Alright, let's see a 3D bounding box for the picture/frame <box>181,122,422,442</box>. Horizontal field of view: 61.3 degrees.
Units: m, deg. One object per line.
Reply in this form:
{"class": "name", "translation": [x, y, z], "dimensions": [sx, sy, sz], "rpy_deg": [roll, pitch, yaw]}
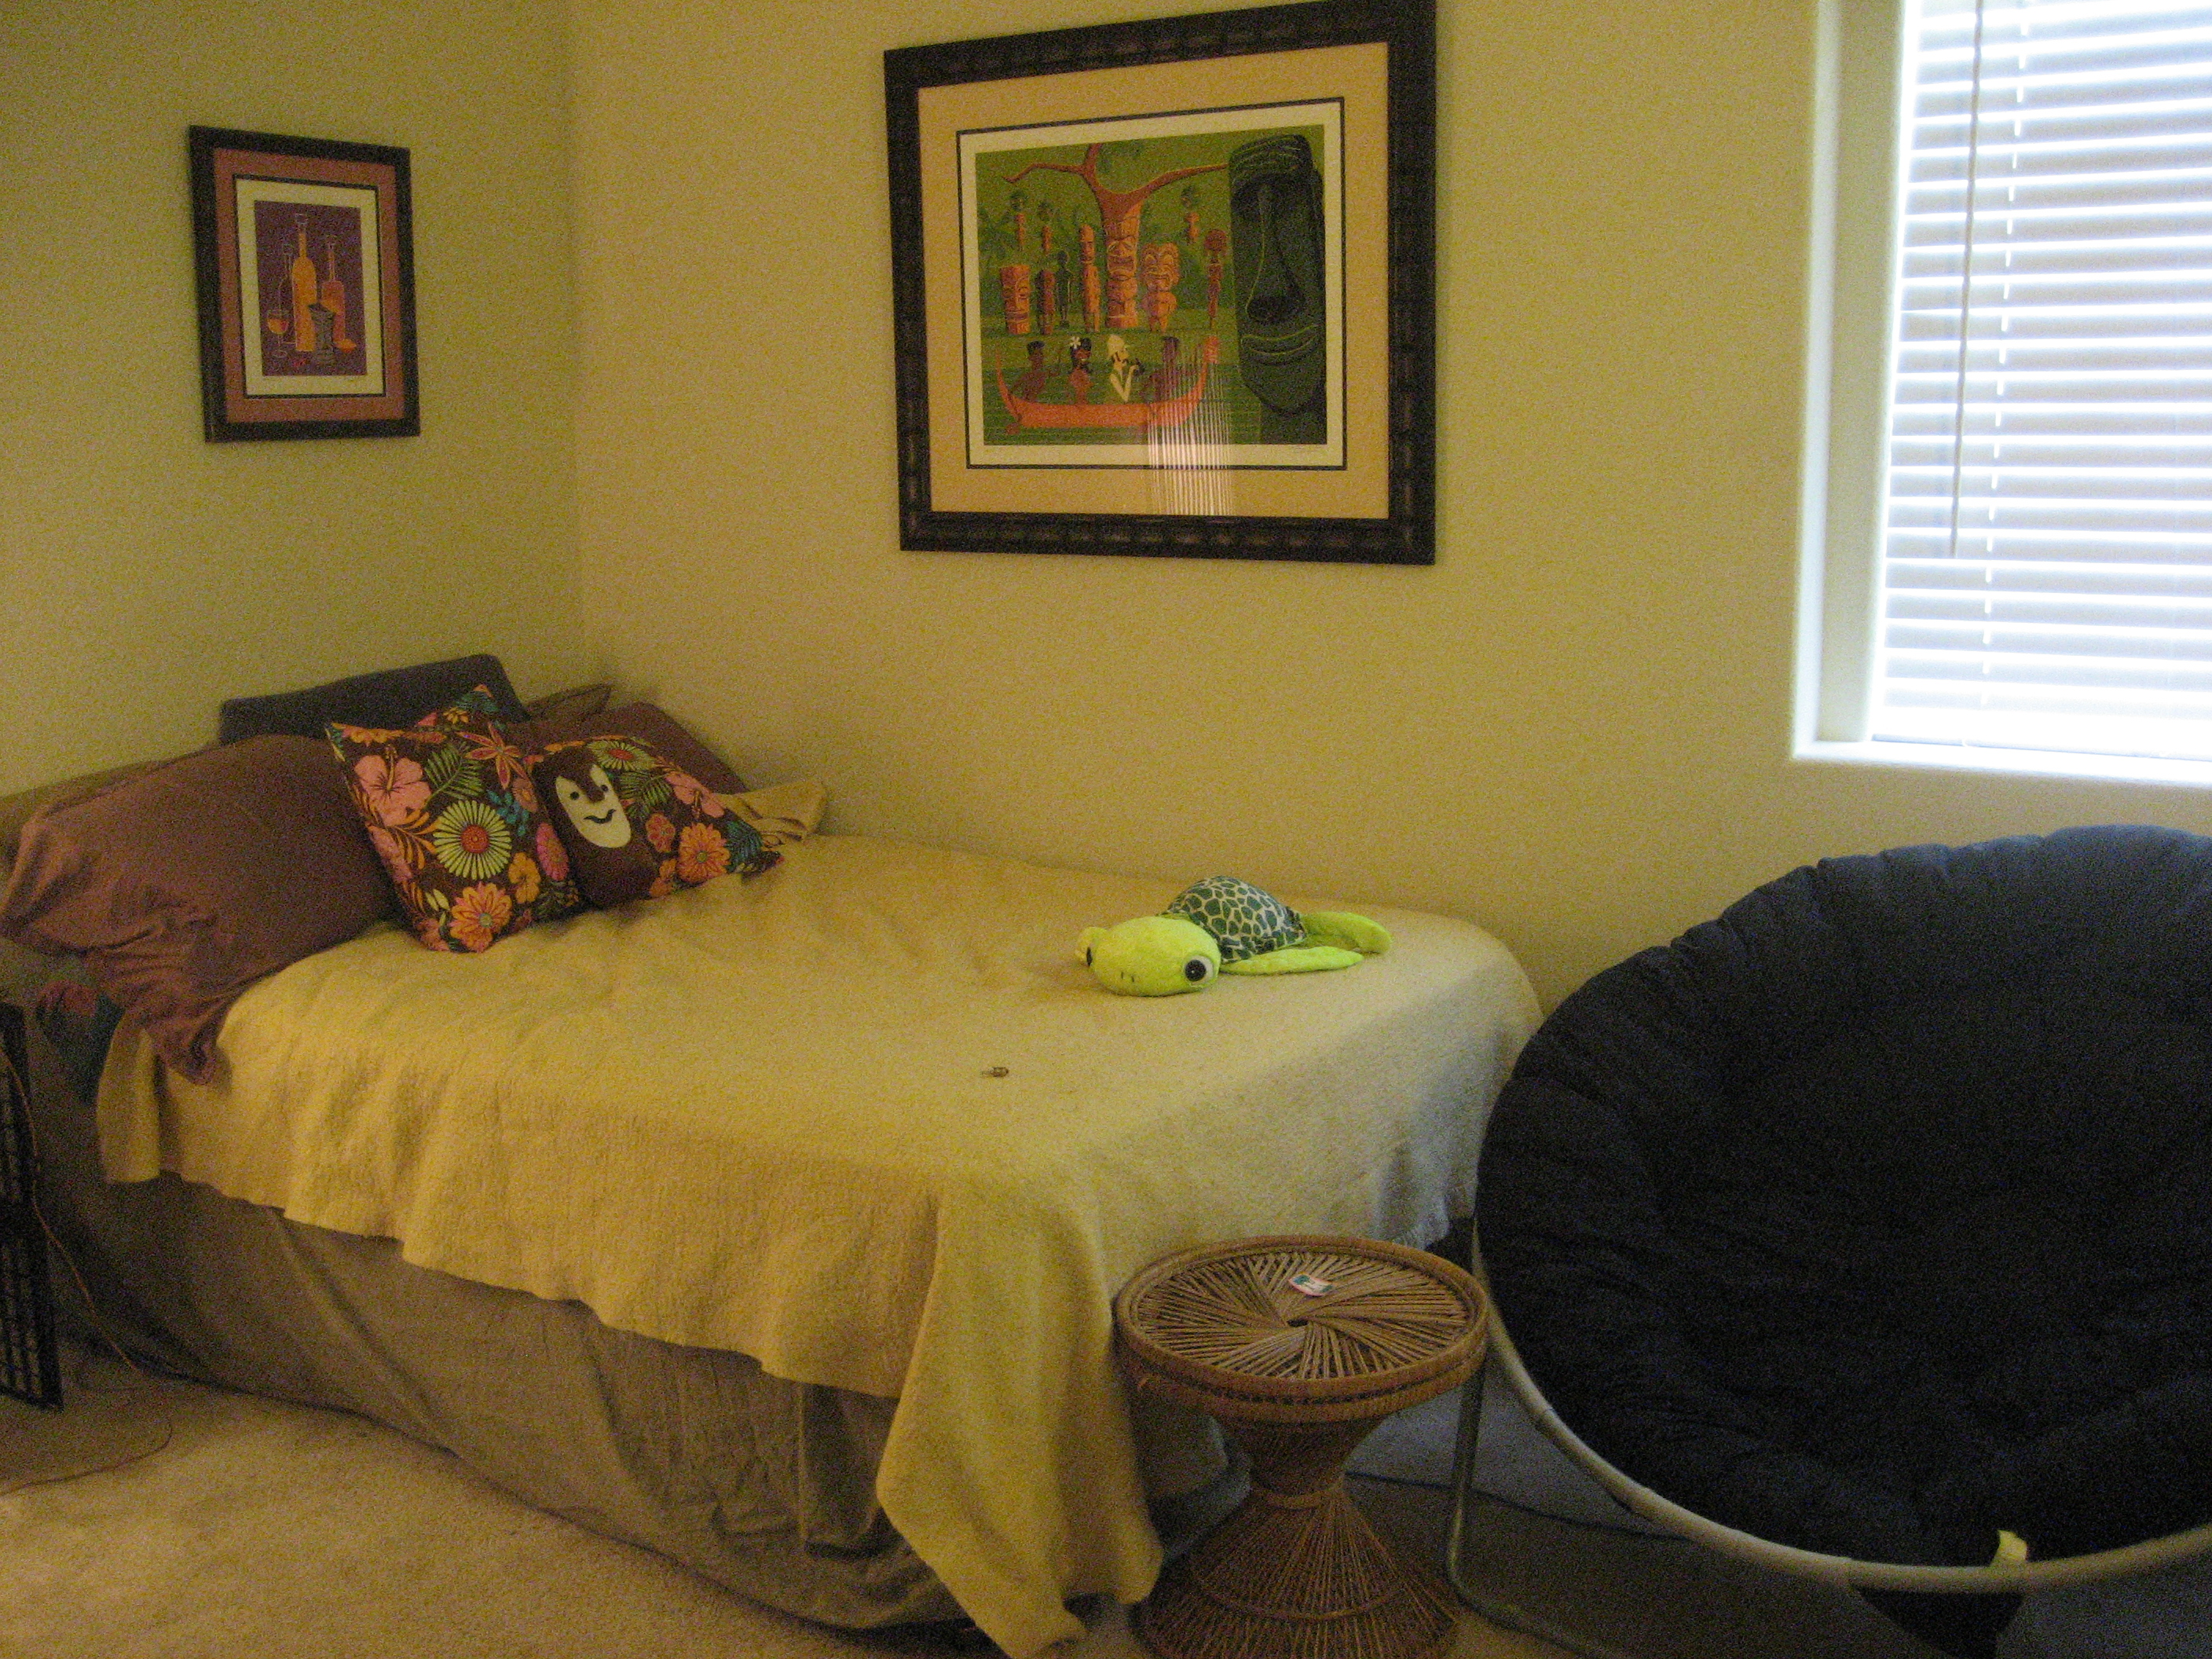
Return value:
{"class": "picture/frame", "translation": [-1.331, -0.900, 3.038], "dimensions": [0.047, 0.620, 0.530], "rpy_deg": [5, 9, 34]}

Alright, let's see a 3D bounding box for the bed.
{"class": "bed", "translation": [-0.587, 0.406, 2.579], "dimensions": [1.705, 0.638, 1.147], "rpy_deg": [10, 22, 28]}
